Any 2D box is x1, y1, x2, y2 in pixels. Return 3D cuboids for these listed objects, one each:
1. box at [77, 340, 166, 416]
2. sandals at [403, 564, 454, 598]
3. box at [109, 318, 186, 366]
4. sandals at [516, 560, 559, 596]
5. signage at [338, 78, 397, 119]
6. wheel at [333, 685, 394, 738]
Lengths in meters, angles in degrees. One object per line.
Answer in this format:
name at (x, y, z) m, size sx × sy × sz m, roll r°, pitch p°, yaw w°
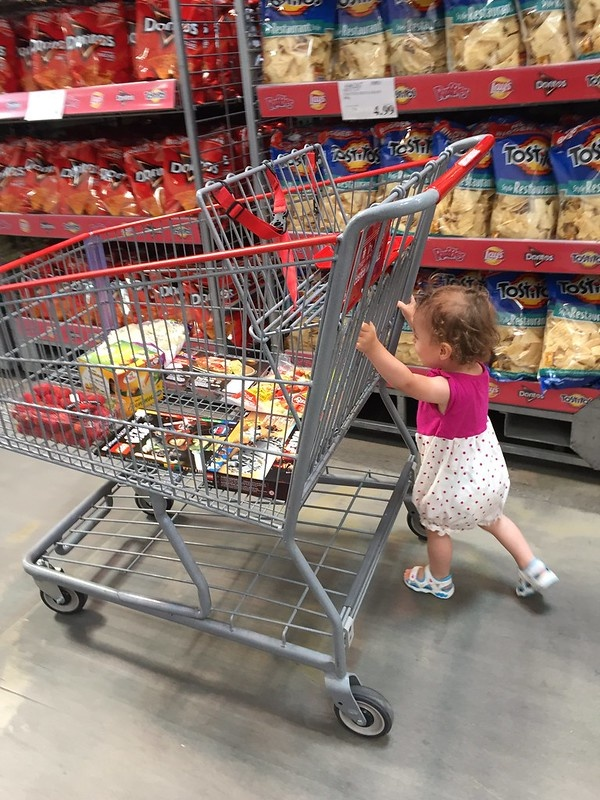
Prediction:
box at (-0.388, -0.046, 1.287) m, size 0.131 × 0.119 × 0.127 m, roll 5°, pitch 38°, yaw 26°
sandals at (0.337, 0.474, 1.662) m, size 0.150 × 0.077 × 0.062 m, roll 13°, pitch 37°, yaw 22°
box at (-0.338, -0.142, 1.381) m, size 0.169 × 0.054 × 0.158 m, roll 3°, pitch 15°, yaw -11°
sandals at (0.583, 0.470, 1.581) m, size 0.055 × 0.074 × 0.162 m, roll -42°, pitch -3°, yaw -26°
signage at (0.219, -0.926, 1.891) m, size 0.218 × 0.127 × 0.112 m, roll 7°, pitch 36°, yaw 25°
wheel at (0.124, 0.633, 1.223) m, size 0.109 × 0.098 × 0.038 m, roll 38°, pitch 20°, yaw 13°
